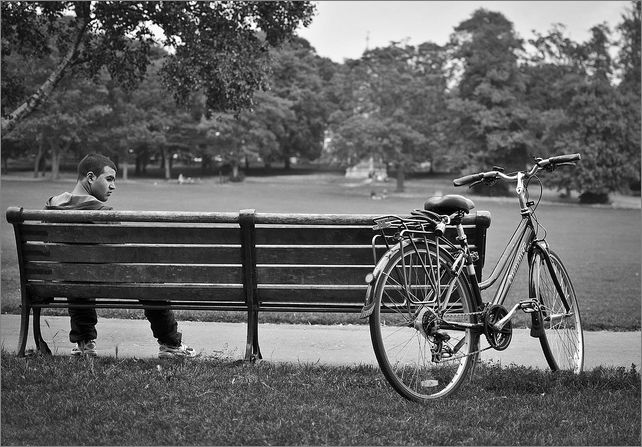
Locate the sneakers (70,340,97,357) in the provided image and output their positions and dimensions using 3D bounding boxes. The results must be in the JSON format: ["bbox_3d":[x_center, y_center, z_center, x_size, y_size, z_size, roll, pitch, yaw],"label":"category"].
[{"bbox_3d":[-3.952,2.129,23.295,0.520,0.210,0.188,1,-8,3],"label":"sneakers"}]

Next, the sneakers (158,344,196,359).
[{"bbox_3d":[-2.450,2.135,23.348,0.643,0.284,0.242,0,2,-12],"label":"sneakers"}]
